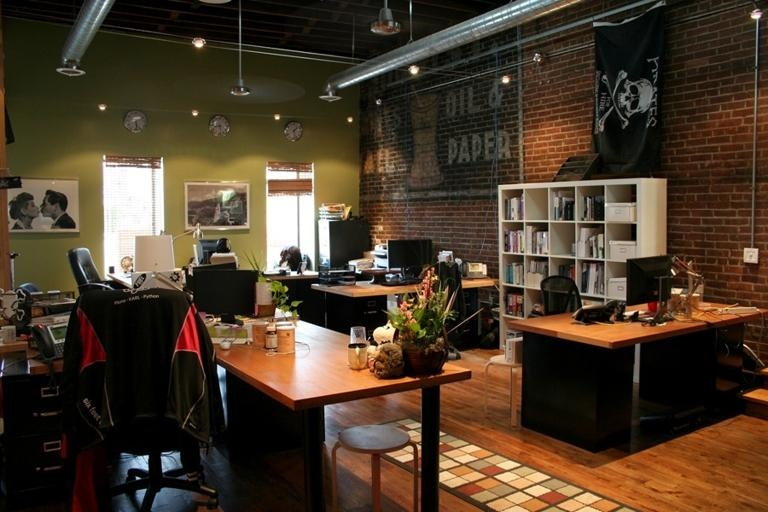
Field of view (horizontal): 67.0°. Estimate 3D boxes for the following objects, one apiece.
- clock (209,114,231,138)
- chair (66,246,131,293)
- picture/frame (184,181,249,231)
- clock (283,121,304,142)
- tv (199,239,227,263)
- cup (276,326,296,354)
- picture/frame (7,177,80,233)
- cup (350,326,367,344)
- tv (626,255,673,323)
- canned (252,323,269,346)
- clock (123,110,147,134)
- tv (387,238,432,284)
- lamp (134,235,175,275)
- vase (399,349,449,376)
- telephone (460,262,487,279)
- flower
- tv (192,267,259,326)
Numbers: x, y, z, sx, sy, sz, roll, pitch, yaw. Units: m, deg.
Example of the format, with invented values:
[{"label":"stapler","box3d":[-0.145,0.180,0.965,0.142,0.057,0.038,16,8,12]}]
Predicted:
[{"label":"clock","box3d":[-3.011,-2.355,10.568,0.380,0.360,0.090,-6,10,-29]},{"label":"chair","box3d":[-4.405,0.228,8.887,0.878,0.984,0.717,-4,2,-9]},{"label":"picture/frame","box3d":[-3.111,-0.915,10.568,1.128,0.839,0.048,-2,7,-30]},{"label":"clock","box3d":[-1.743,-2.395,11.190,0.403,0.411,0.088,-9,15,-35]},{"label":"tv","box3d":[-2.494,-0.050,8.446,0.337,0.321,0.245,1,-18,-24]},{"label":"cup","box3d":[-0.853,0.745,5.151,0.215,0.219,0.209,0,3,0]},{"label":"picture/frame","box3d":[-5.454,-0.803,9.221,1.119,0.780,0.041,-1,1,-31]},{"label":"cup","box3d":[-0.216,0.653,4.758,0.139,0.127,0.129,0,0,0]},{"label":"tv","box3d":[2.786,0.354,6.089,0.688,0.652,0.223,-3,8,-28]},{"label":"canned","box3d":[-1.112,0.701,5.221,0.191,0.187,0.187,0,4,-13]},{"label":"clock","box3d":[-4.291,-2.293,9.947,0.408,0.386,0.094,1,9,-30]},{"label":"tv","box3d":[0.374,0.100,8.806,0.706,0.485,0.228,1,-3,-31]},{"label":"lamp","box3d":[-2.306,-0.007,5.966,0.416,0.387,0.388,0,4,-13]},{"label":"vase","box3d":[0.311,0.819,4.437,0.252,0.162,0.246,1,-1,-30]},{"label":"telephone","box3d":[1.456,0.241,9.157,0.418,0.268,0.219,0,-2,-19]},{"label":"flower","box3d":[0.291,0.384,4.482,0.517,0.580,0.297,0,12,0]},{"label":"tv","box3d":[-1.524,0.400,5.581,0.531,0.356,0.152,1,9,4]}]
